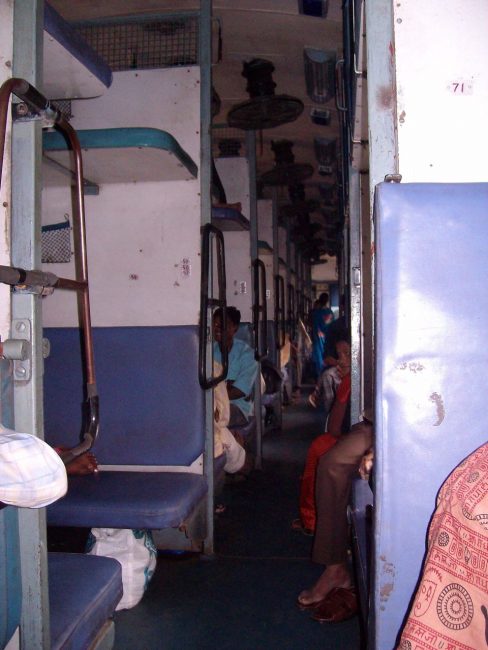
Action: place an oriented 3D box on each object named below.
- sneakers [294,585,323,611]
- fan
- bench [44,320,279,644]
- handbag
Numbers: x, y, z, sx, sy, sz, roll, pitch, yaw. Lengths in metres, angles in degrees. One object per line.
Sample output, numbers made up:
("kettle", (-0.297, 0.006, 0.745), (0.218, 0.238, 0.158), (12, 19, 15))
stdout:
("sneakers", (0.251, 0.994, 2.568), (0.136, 0.056, 0.045), (2, -14, -3))
("fan", (0.198, -1.656, 5.582), (0.568, 1.808, 0.624), (-14, -28, 21))
("bench", (-0.443, 0.487, 2.848), (0.931, 1.234, 0.936), (-1, -5, 1))
("handbag", (-0.444, 0.900, 2.670), (0.189, 0.313, 0.254), (1, 3, -12))
